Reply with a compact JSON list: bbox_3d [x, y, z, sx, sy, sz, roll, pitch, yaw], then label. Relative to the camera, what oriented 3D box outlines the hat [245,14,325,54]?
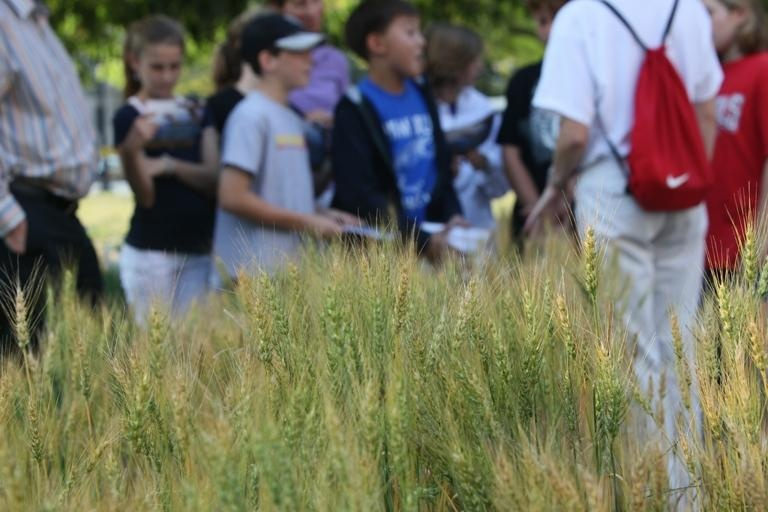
[{"bbox_3d":[-0.515,-1.054,6.989,0.262,0.190,0.205,-14,12,5],"label":"hat"}]
